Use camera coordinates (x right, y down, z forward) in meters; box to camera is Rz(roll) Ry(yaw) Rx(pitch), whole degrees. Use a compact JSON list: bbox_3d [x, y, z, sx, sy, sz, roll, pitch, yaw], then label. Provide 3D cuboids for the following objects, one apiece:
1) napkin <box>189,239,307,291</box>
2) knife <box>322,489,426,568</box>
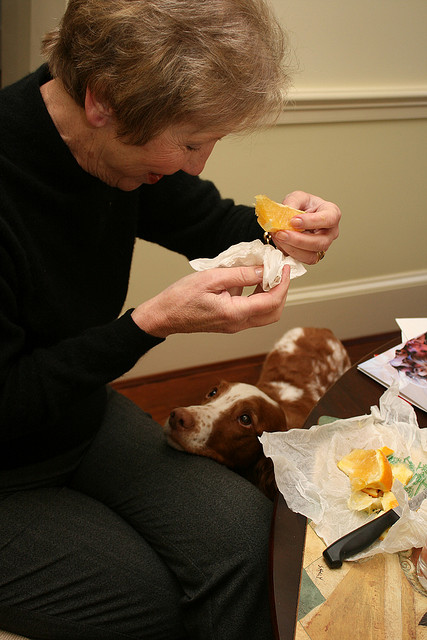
[{"bbox_3d":[0.070,-0.104,0.980,0.206,0.083,0.150,10,27,18],"label":"napkin"},{"bbox_3d":[0.158,0.231,0.588,0.097,0.034,0.023,-7,16,-29],"label":"knife"}]
